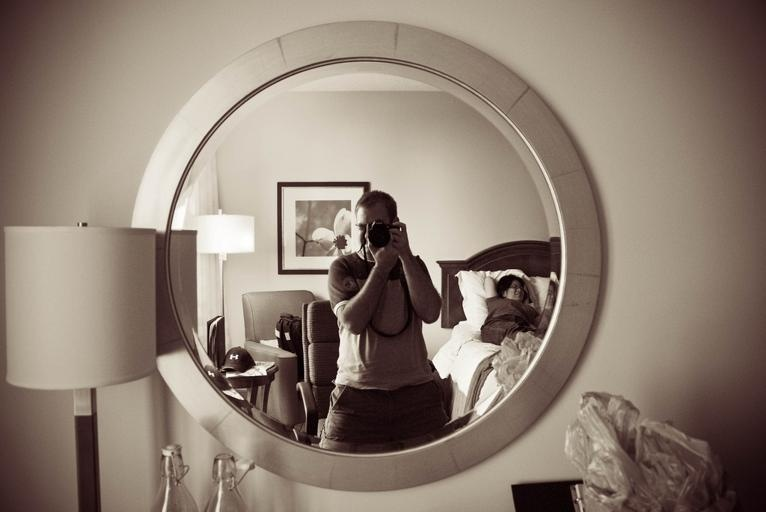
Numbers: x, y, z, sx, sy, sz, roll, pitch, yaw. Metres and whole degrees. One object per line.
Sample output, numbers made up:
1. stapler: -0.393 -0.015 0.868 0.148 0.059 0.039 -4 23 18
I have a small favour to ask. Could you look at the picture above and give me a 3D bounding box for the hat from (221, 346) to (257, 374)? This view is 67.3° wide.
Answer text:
1. hat: -0.465 0.334 1.856 0.064 0.059 0.094 -1 1 6
